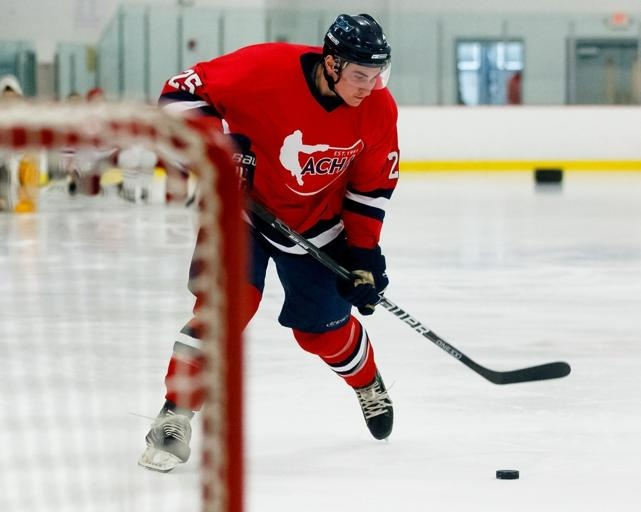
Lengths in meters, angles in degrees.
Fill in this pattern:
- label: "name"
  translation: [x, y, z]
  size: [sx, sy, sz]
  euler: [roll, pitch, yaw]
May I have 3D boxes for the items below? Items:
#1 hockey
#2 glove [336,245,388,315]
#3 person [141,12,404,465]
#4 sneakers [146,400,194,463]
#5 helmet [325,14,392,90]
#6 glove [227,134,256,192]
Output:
- label: "hockey"
  translation: [0.374, 0.165, 4.821]
  size: [1.395, 0.149, 0.182]
  euler: [31, -31, -9]
- label: "glove"
  translation: [0.159, 0.076, 3.872]
  size: [0.096, 0.200, 0.220]
  euler: [-30, -39, 23]
- label: "person"
  translation: [-0.093, -0.092, 3.782]
  size: [0.699, 1.328, 0.319]
  euler: [1, 15, -4]
- label: "sneakers"
  translation: [-0.455, 0.532, 3.549]
  size: [0.143, 0.191, 0.127]
  euler: [2, 14, -1]
- label: "helmet"
  translation: [0.121, -0.605, 3.590]
  size: [0.213, 0.223, 0.250]
  euler: [-14, 18, -41]
- label: "glove"
  translation: [-0.253, -0.283, 3.658]
  size: [0.076, 0.179, 0.106]
  euler: [9, 16, 22]
